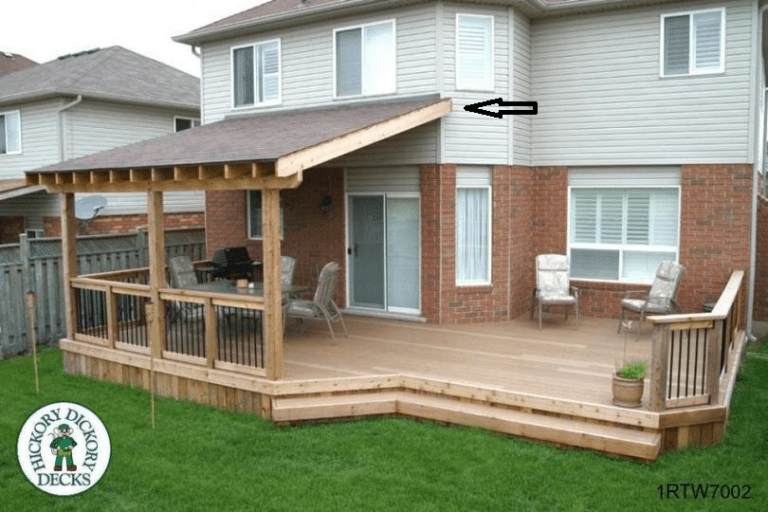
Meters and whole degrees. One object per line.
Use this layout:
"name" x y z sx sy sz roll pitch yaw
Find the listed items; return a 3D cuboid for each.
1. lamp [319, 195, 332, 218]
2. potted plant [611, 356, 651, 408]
"lamp" -1.447 -1.275 16.298 0.333 0.510 0.087 3 5 33
"potted plant" 4.094 2.150 10.874 0.524 0.674 0.529 2 4 21
